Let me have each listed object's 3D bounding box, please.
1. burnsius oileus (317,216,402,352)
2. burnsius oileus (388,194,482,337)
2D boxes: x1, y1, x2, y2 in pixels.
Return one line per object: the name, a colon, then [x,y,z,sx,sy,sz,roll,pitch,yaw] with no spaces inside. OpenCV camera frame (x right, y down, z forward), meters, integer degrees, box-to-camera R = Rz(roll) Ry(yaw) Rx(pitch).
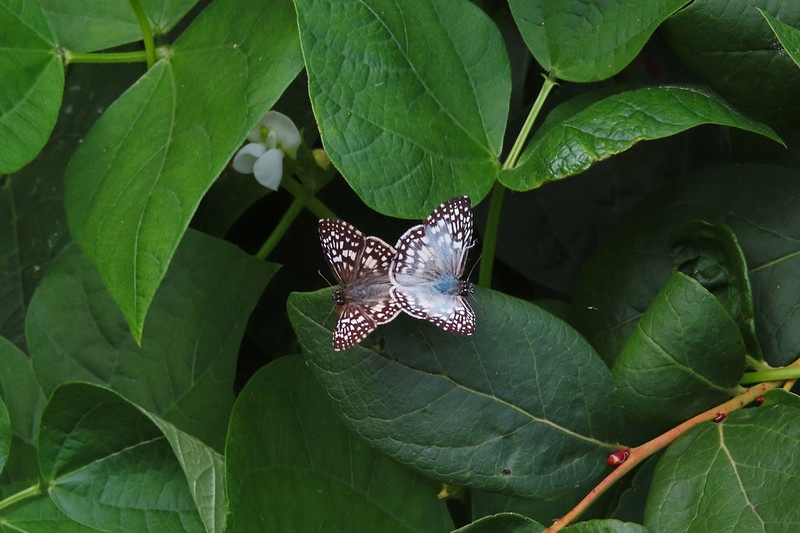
burnsius oileus: [-0.050,0.012,1.150,0.095,0.154,0.134,-8,8,-5]
burnsius oileus: [0.047,0.012,1.166,0.117,0.063,0.241,5,51,4]
